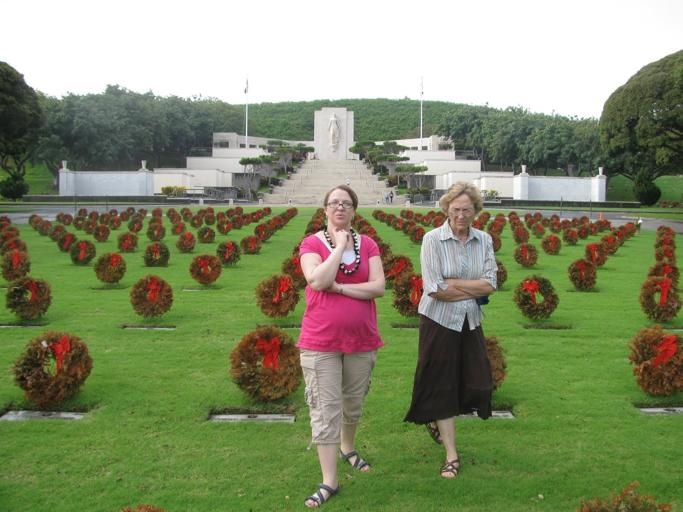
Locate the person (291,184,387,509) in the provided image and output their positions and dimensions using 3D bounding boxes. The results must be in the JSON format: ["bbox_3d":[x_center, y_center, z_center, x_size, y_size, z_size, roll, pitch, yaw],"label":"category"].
[{"bbox_3d":[-0.003,0.676,5.181,0.694,2.464,0.572,-1,5,-17],"label":"person"}]

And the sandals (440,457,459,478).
[{"bbox_3d":[0.906,1.762,5.351,0.171,0.126,0.162,1,5,3],"label":"sandals"}]

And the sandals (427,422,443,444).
[{"bbox_3d":[0.844,1.607,5.855,0.091,0.241,0.064,-7,8,12],"label":"sandals"}]

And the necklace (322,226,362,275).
[{"bbox_3d":[0.004,-0.036,5.279,0.248,0.398,0.070,-10,-15,-39],"label":"necklace"}]

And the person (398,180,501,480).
[{"bbox_3d":[0.924,0.599,5.447,0.732,2.424,0.552,2,5,10],"label":"person"}]

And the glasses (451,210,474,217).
[{"bbox_3d":[1.023,-0.355,5.420,0.175,0.057,0.046,1,5,-1],"label":"glasses"}]

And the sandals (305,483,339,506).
[{"bbox_3d":[-0.165,1.866,5.007,0.105,0.087,0.275,-6,-6,34],"label":"sandals"}]
